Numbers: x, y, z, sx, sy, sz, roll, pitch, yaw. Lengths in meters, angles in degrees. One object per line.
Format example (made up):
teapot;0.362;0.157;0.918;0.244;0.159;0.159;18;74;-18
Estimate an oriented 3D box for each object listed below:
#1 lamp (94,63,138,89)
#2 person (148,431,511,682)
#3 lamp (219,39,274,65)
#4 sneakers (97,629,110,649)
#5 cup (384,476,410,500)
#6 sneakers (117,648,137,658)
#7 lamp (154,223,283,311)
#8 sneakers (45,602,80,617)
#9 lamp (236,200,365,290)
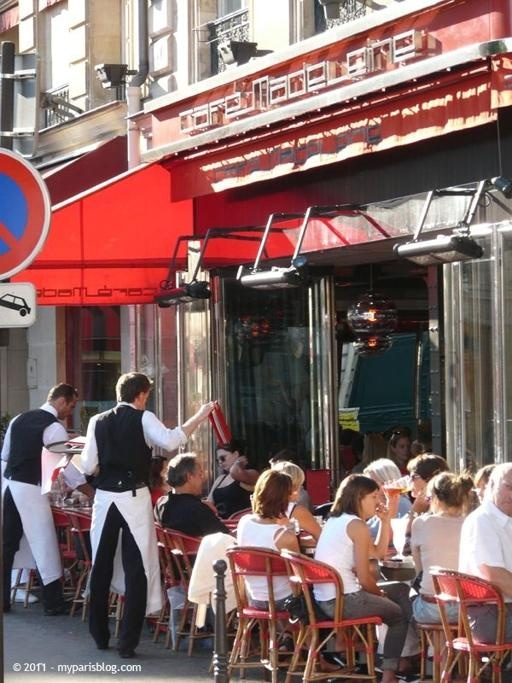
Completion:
lamp;-1.504;-2.864;13.637;0.350;0.233;0.269;-1;1;-6
person;0.408;1.314;7.423;1.276;0.343;1.356;5;24;9
lamp;-0.067;-2.352;10.441;0.441;0.218;0.241;-6;4;-38
sneakers;-0.977;1.929;8.151;0.050;0.114;0.154;3;3;-2
cup;0.841;0.872;7.514;0.107;0.104;0.135;-1;-10;20
sneakers;-0.789;1.957;7.906;0.043;0.052;0.112;4;-12;-26
lamp;-0.332;-0.626;10.895;0.966;0.608;0.596;-1;-10;-36
sneakers;-1.429;2.026;9.529;0.277;0.126;0.093;13;-13;-40
lamp;0.267;-0.684;9.372;0.775;0.644;1.312;1;-3;-18
